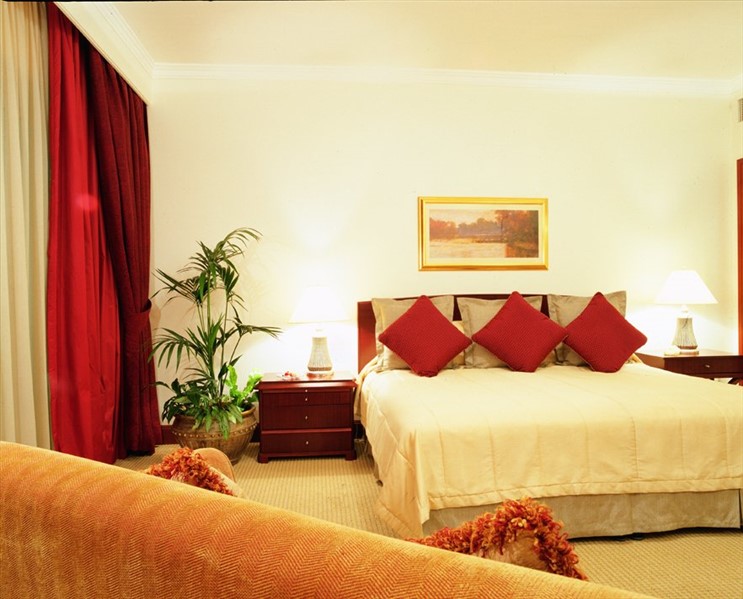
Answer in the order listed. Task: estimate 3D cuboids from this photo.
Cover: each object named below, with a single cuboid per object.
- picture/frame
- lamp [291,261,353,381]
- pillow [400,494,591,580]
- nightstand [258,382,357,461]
[{"bbox_3d":[0.944,-0.555,5.213,1.110,0.618,0.066,-1,0,-9],"label":"picture/frame"},{"bbox_3d":[-0.393,0.136,4.842,0.472,0.933,0.515,-1,0,-7],"label":"lamp"},{"bbox_3d":[0.339,0.576,1.609,0.312,0.161,0.230,1,-5,-6],"label":"pillow"},{"bbox_3d":[-0.481,0.740,4.665,0.760,0.632,0.526,0,-3,-5],"label":"nightstand"}]
